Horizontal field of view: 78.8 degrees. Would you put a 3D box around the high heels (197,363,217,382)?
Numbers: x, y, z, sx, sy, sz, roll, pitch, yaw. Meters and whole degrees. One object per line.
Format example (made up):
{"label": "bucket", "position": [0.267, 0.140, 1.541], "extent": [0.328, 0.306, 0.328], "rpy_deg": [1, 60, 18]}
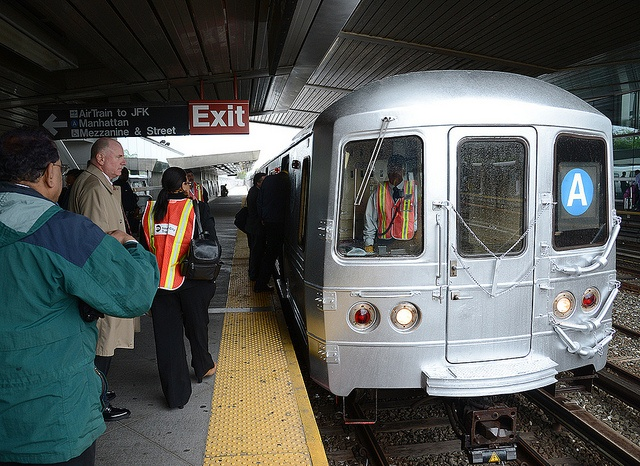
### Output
{"label": "high heels", "position": [-1.233, 1.538, 4.266], "extent": [0.088, 0.103, 0.259], "rpy_deg": [15, 57, 48]}

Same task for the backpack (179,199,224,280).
{"label": "backpack", "position": [-1.160, 0.097, 3.711], "extent": [0.374, 0.803, 0.352], "rpy_deg": [-7, 10, -21]}

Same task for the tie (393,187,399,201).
{"label": "tie", "position": [0.702, -0.364, 3.544], "extent": [0.065, 0.101, 0.027], "rpy_deg": [0, 2, 18]}
